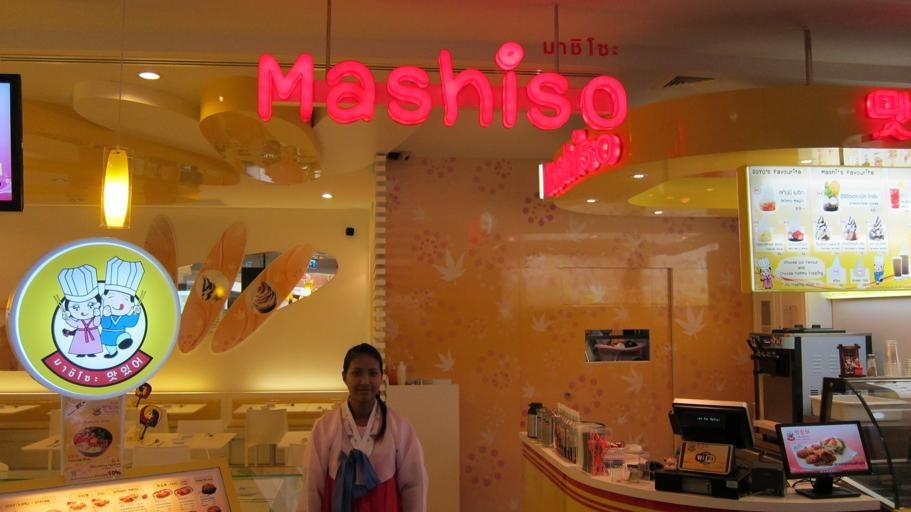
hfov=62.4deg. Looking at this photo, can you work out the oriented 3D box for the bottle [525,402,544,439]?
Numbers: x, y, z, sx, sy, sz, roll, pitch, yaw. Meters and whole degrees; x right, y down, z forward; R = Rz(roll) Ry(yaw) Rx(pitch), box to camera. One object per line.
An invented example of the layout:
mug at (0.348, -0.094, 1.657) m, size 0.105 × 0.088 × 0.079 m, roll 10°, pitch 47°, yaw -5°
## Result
bottle at (0.954, 1.929, 8.815) m, size 0.171 × 0.391 × 0.367 m, roll -1°, pitch -4°, yaw -11°
